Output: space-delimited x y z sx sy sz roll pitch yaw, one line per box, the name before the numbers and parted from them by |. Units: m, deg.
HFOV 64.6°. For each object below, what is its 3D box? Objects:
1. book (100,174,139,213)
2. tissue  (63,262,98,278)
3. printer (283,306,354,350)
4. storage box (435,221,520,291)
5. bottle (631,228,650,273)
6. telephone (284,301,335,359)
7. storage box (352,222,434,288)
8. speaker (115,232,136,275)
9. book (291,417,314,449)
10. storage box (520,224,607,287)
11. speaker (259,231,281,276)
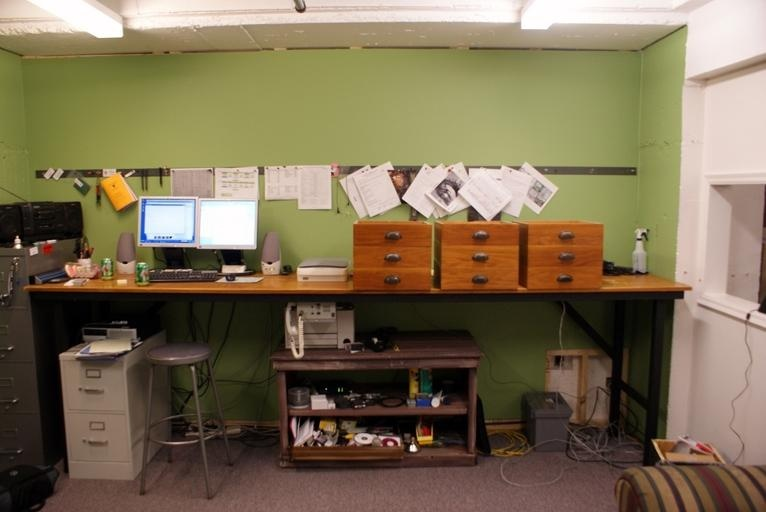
book | -2.115 -0.517 4.987 0.249 0.318 0.098 -34 -2 1
tissue  | -2.277 0.108 4.615 0.175 0.076 0.130 2 3 14
printer | -0.435 0.506 4.519 0.492 0.337 0.338 0 1 -3
storage box | 0.536 -0.005 4.564 0.871 0.464 0.867 2 2 28
bottle | 1.998 -0.036 4.755 0.107 0.349 0.163 1 7 29
telephone | -0.561 0.559 4.612 0.401 0.360 0.282 -1 -21 -23
storage box | -0.111 0.006 4.533 0.858 0.466 0.831 1 3 -4
speaker | -2.012 -0.019 4.824 0.167 0.334 0.176 1 7 29
book | -0.590 1.309 4.490 0.162 0.197 0.081 9 -20 -9
storage box | 1.267 0.003 4.282 0.477 0.387 0.484 0 2 1
speaker | -0.866 -0.016 4.771 0.170 0.330 0.119 -5 7 -28
